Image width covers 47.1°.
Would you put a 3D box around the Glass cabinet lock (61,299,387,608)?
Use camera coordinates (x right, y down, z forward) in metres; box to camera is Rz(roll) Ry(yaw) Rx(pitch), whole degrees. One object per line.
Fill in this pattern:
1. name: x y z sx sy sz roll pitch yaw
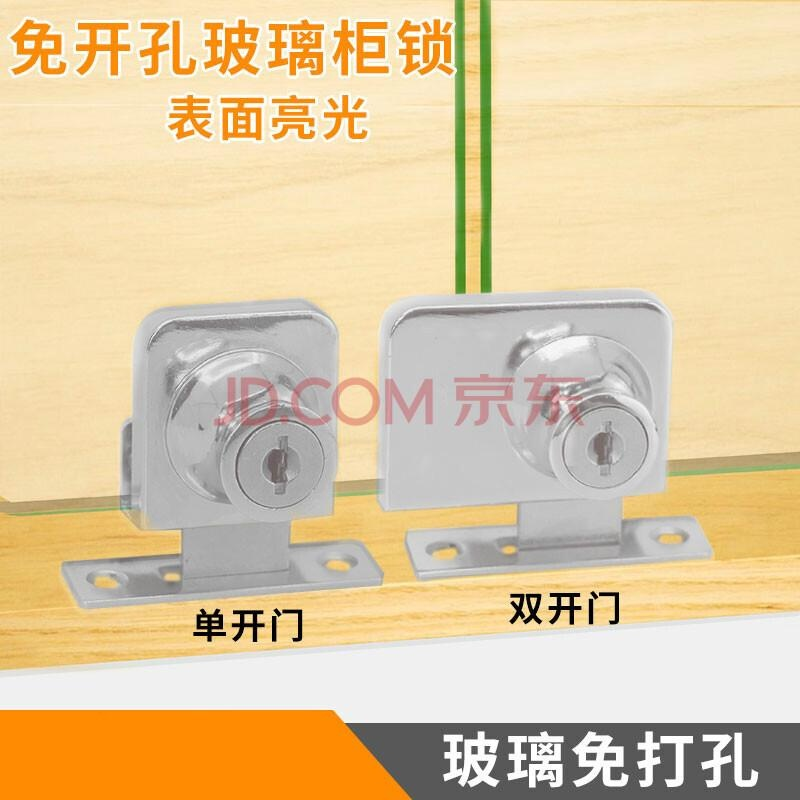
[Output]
1. Glass cabinet lock: -0.069 0.027 0.399 0.157 0.118 0.079 1 11 -17

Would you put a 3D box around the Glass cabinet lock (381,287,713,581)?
1. Glass cabinet lock: 0.071 0.021 0.416 0.162 0.111 0.064 0 12 -5
